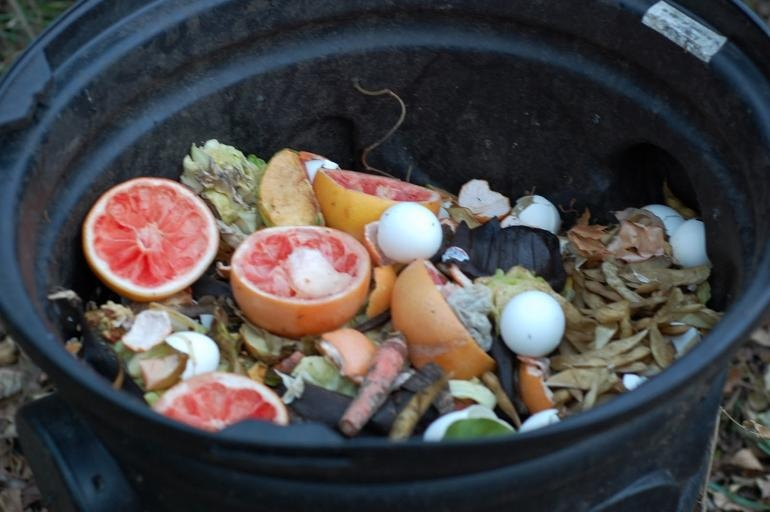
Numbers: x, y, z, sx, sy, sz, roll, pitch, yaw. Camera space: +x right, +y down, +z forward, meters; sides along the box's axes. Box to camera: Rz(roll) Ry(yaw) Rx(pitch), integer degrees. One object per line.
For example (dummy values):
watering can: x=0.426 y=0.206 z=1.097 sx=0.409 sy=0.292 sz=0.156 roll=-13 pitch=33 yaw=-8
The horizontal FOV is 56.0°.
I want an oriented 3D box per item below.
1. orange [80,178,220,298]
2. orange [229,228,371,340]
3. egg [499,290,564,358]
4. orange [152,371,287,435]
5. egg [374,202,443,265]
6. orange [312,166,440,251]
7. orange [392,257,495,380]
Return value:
orange: x=-0.666 y=-0.050 z=2.040 sx=0.311 sy=0.352 sz=0.118 roll=31 pitch=-36 yaw=-15
orange: x=-0.244 y=0.051 z=2.005 sx=0.317 sy=0.204 sz=0.316 roll=-2 pitch=41 yaw=-12
egg: x=0.409 y=0.198 z=2.023 sx=0.169 sy=0.229 sz=0.183 roll=-2 pitch=-4 yaw=6
orange: x=-0.414 y=0.366 z=1.859 sx=0.328 sy=0.120 sz=0.093 roll=-2 pitch=7 yaw=-4
egg: x=0.077 y=-0.081 z=2.120 sx=0.166 sy=0.154 sz=0.219 roll=-1 pitch=33 yaw=5
orange: x=-0.041 y=-0.185 z=2.332 sx=0.381 sy=0.225 sz=0.306 roll=-8 pitch=28 yaw=-5
orange: x=0.158 y=0.173 z=1.965 sx=0.280 sy=0.317 sz=0.110 roll=-1 pitch=6 yaw=1
